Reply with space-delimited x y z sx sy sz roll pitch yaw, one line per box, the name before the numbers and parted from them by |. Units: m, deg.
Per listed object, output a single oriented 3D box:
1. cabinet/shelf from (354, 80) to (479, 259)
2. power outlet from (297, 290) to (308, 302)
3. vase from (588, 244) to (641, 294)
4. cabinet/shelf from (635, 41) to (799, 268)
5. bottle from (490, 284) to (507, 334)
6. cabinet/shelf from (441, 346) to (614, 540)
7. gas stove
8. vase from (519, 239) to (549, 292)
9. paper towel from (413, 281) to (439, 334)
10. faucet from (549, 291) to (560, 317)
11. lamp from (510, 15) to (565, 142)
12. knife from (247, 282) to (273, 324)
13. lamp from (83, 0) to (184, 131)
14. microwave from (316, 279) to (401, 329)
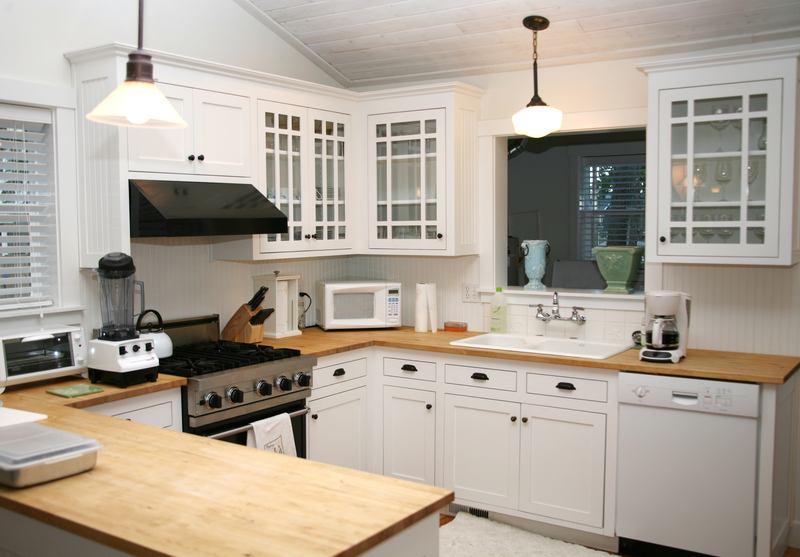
cabinet/shelf | 0.108 -0.777 4.377 0.923 1.204 0.398 2 9 9
power outlet | -0.724 0.128 4.638 0.049 0.067 0.150 2 8 9
vase | 1.498 -0.064 4.154 0.351 0.318 0.327 0 0 21
cabinet/shelf | 1.821 -0.692 3.501 0.831 1.211 0.210 4 9 17
bottle | 0.727 0.230 4.427 0.123 0.323 0.108 3 9 12
cabinet/shelf | 0.817 1.022 3.729 1.288 1.011 0.601 0 -2 28
gas stove | -1.011 0.548 3.460 0.473 0.184 0.522 1 3 32
vase | 1.010 -0.107 4.546 0.191 0.372 0.344 3 9 13
paper towel | 0.195 0.217 4.498 0.158 0.353 0.142 -1 9 -12
faucet | 1.099 0.183 4.240 0.065 0.174 0.095 3 9 15
lamp | 0.874 -1.248 3.765 0.312 0.745 0.750 3 9 11
knife | -0.941 0.181 4.099 0.164 0.265 0.238 -1 9 -12
lamp | -1.024 -0.879 2.430 0.324 0.526 0.372 2 9 5
microwave | -0.289 0.214 4.457 0.543 0.296 0.371 0 0 -20
